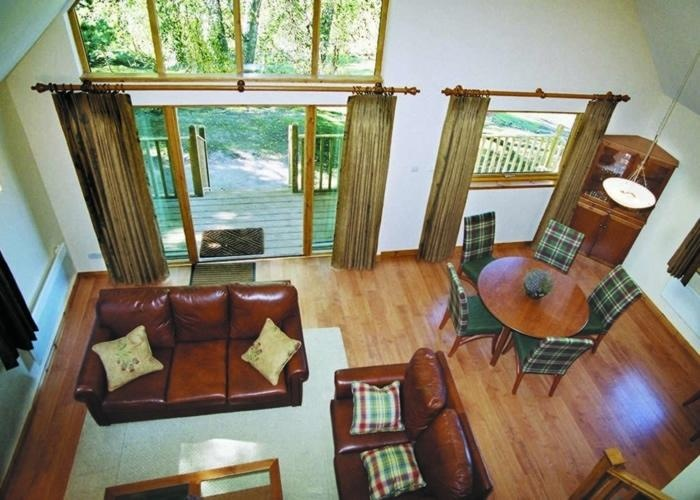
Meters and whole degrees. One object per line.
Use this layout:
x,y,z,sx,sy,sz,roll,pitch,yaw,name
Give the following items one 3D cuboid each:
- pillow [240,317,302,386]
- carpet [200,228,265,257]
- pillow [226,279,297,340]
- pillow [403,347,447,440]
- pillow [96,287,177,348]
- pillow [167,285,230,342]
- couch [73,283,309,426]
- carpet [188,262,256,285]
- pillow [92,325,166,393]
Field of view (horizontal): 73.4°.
-0.948,1.216,5.612,0.652,0.201,0.675,-52,50,3,pillow
-1.982,-0.131,7.968,1.034,0.080,0.797,-2,34,-7,carpet
-1.112,0.760,6.164,0.920,0.641,0.652,-4,-6,-4,pillow
0.806,1.582,5.057,0.395,0.758,0.696,9,21,-5,pillow
-2.595,0.844,5.832,0.911,0.628,0.658,-1,49,-9,pillow
-1.884,0.770,5.783,0.642,0.621,0.335,-2,11,-12,pillow
-1.863,1.173,5.650,2.790,1.369,1.586,-3,54,-9,couch
-2.003,0.362,7.415,0.444,0.025,0.620,2,33,-6,carpet
-2.578,1.249,5.455,0.580,0.411,0.448,-20,40,-30,pillow
